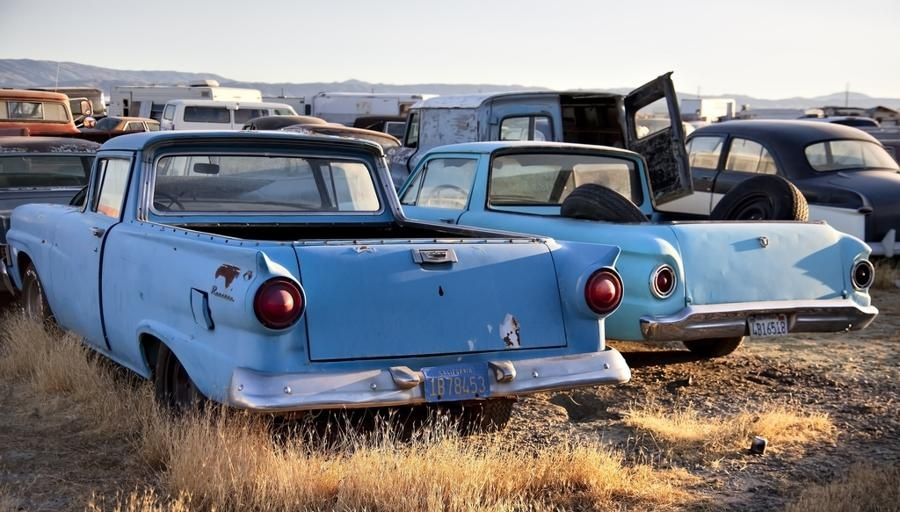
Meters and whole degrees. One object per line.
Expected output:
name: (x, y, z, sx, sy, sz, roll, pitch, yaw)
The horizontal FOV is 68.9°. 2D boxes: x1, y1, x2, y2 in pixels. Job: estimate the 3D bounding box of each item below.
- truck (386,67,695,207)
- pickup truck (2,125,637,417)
truck: (1.921, -2.497, 12.204, 3.333, 2.544, 5.722, -6, 12, -33)
pickup truck: (-1.836, 0.104, 6.113, 2.936, 1.562, 5.048, 0, 8, -42)
